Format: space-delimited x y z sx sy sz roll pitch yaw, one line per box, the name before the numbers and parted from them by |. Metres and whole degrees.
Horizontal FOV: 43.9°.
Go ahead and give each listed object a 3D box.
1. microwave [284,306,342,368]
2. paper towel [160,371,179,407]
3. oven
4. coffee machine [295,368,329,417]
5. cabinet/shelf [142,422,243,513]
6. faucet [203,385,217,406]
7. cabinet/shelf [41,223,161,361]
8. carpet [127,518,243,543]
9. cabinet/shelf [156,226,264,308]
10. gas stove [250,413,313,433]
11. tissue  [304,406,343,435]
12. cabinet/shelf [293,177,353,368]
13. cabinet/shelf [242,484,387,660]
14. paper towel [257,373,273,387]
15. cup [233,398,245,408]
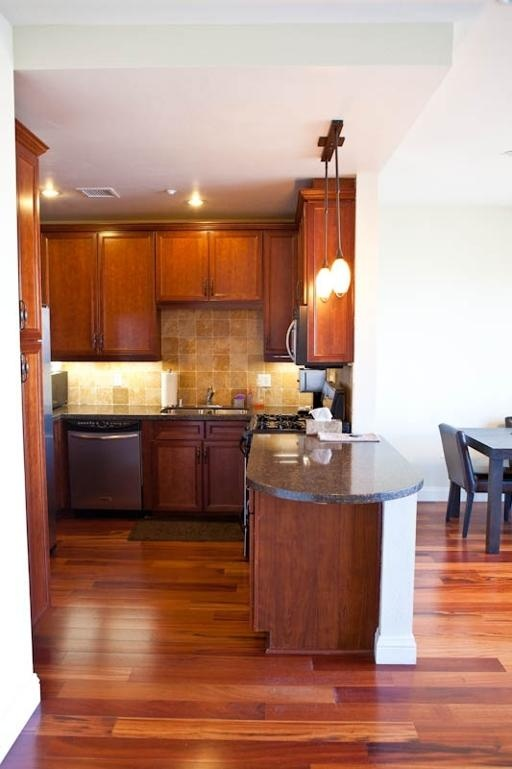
microwave | 0.341 -0.275 3.870 0.313 0.339 0.461 0 3 1
paper towel | -0.674 0.039 4.952 0.114 0.269 0.323 0 5 -4
oven | -1.032 0.637 4.750 0.547 0.691 0.531 0 -2 -2
coffee machine | 0.355 0.013 4.376 0.263 0.450 0.199 1 0 2
cabinet/shelf | -0.443 0.559 4.516 0.596 0.562 0.258 0 0 0
faucet | -0.376 0.092 5.093 0.093 0.154 0.110 0 5 1
cabinet/shelf | -1.150 -0.725 4.651 0.997 1.243 0.442 0 8 -1
carpet | -0.472 0.978 4.272 0.778 0.034 0.510 0 5 1
cabinet/shelf | -0.324 -0.876 4.796 0.839 0.583 0.293 1 4 9
gas stove | 0.148 0.237 4.059 0.351 0.032 0.895 1 5 5
tissue  | 0.372 0.188 3.577 0.160 0.108 0.156 1 4 4
cabinet/shelf | 0.384 -0.619 3.531 0.358 1.100 1.055 0 2 3
cabinet/shelf | 0.243 0.797 2.961 0.663 0.944 0.524 1 1 4
paper towel | 0.072 -0.041 5.090 0.098 0.099 0.011 1 2 3
cup | -0.136 0.149 5.002 0.076 0.089 0.074 2 -3 0
